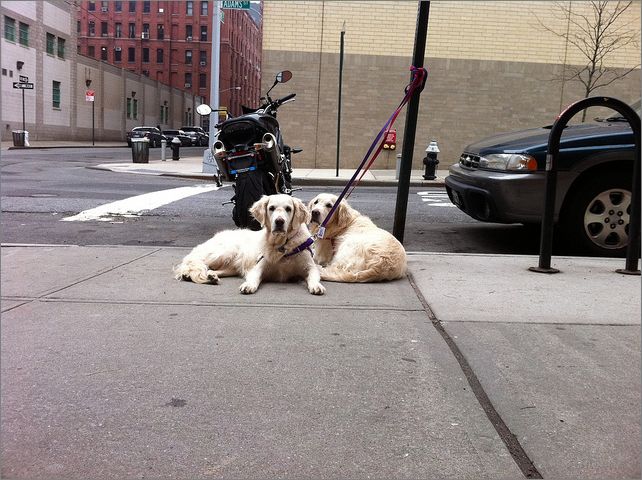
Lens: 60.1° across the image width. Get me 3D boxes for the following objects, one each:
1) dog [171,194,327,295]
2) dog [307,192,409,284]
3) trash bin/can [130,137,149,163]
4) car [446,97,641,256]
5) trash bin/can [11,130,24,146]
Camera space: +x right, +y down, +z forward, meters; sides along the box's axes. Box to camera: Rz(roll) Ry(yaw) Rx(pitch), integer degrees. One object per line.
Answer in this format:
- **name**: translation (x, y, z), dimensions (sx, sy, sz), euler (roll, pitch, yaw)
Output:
- **dog**: translation (-0.700, 0.108, 5.619), dimensions (0.964, 0.630, 1.291), euler (4, -4, -34)
- **dog**: translation (0.335, 0.023, 5.782), dimensions (0.779, 0.463, 1.098), euler (13, 8, -43)
- **trash bin/can**: translation (-7.356, -3.573, 22.628), dimensions (0.605, 0.918, 0.807), euler (-3, 11, -19)
- **car**: translation (2.771, -0.704, 6.903), dimensions (2.643, 1.131, 1.358), euler (1, 5, 1)
- **trash bin/can**: translation (-18.036, -6.002, 33.122), dimensions (0.650, 0.834, 1.236), euler (-5, 12, -28)
